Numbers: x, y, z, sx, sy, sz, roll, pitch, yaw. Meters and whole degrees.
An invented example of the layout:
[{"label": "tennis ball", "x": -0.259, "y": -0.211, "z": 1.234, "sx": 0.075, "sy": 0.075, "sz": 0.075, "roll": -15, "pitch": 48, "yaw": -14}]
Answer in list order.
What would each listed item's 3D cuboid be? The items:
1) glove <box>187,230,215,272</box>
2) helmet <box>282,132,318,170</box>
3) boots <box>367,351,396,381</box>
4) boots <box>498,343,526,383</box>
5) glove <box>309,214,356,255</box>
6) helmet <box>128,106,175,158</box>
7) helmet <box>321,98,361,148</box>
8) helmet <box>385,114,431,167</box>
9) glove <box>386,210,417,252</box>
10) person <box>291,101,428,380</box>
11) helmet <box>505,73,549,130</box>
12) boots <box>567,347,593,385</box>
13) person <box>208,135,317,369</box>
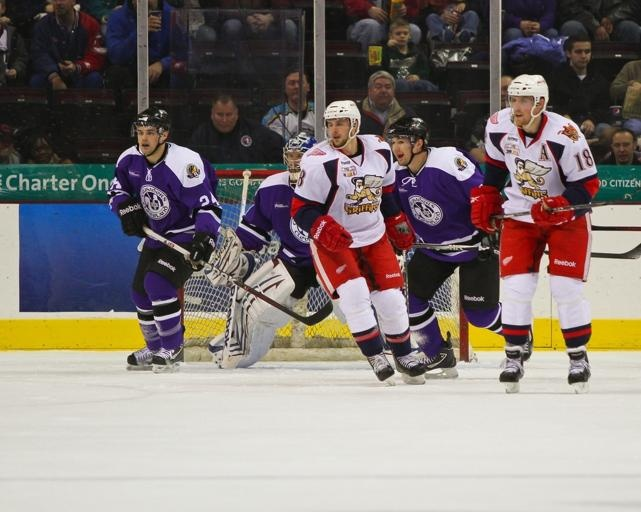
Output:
[{"label": "glove", "x": -0.630, "y": -0.027, "z": 5.806, "sx": 0.149, "sy": 0.187, "sz": 0.071, "roll": 11, "pitch": -12, "yaw": 32}, {"label": "helmet", "x": -0.143, "y": -0.589, "z": 6.002, "sx": 0.180, "sy": 0.192, "sz": 0.227, "roll": 4, "pitch": 28, "yaw": 27}, {"label": "boots", "x": 0.292, "y": 0.527, "z": 5.190, "sx": 0.071, "sy": 0.083, "sz": 0.212, "roll": -39, "pitch": 8, "yaw": 0}, {"label": "boots", "x": 0.893, "y": 0.516, "z": 5.024, "sx": 0.100, "sy": 0.105, "sz": 0.264, "roll": -4, "pitch": -6, "yaw": 16}, {"label": "glove", "x": 0.053, "y": -0.106, "z": 4.959, "sx": 0.190, "sy": 0.138, "sz": 0.077, "roll": 42, "pitch": 25, "yaw": 5}, {"label": "helmet", "x": -0.942, "y": -0.665, "z": 5.919, "sx": 0.207, "sy": 0.298, "sz": 0.196, "roll": -1, "pitch": 8, "yaw": 3}, {"label": "helmet", "x": 0.124, "y": -0.651, "z": 5.217, "sx": 0.190, "sy": 0.204, "sz": 0.233, "roll": -5, "pitch": 9, "yaw": 41}, {"label": "helmet", "x": 0.408, "y": -0.594, "z": 5.686, "sx": 0.273, "sy": 0.296, "sz": 0.227, "roll": -2, "pitch": -2, "yaw": -39}, {"label": "glove", "x": 0.410, "y": -0.123, "z": 5.430, "sx": 0.158, "sy": 0.178, "sz": 0.073, "roll": -31, "pitch": -1, "yaw": 12}, {"label": "person", "x": 0.239, "y": -0.052, "z": 5.169, "sx": 0.661, "sy": 1.377, "sz": 0.363, "roll": -7, "pitch": 10, "yaw": -38}, {"label": "helmet", "x": 0.975, "y": -0.726, "z": 5.011, "sx": 0.206, "sy": 0.221, "sz": 0.167, "roll": -4, "pitch": 10, "yaw": -16}, {"label": "boots", "x": 1.189, "y": 0.513, "z": 4.932, "sx": 0.094, "sy": 0.160, "sz": 0.167, "roll": 1, "pitch": 8, "yaw": 12}, {"label": "person", "x": -0.352, "y": -0.002, "z": 6.169, "sx": 0.915, "sy": 1.421, "sz": 0.719, "roll": 0, "pitch": -7, "yaw": -10}]
